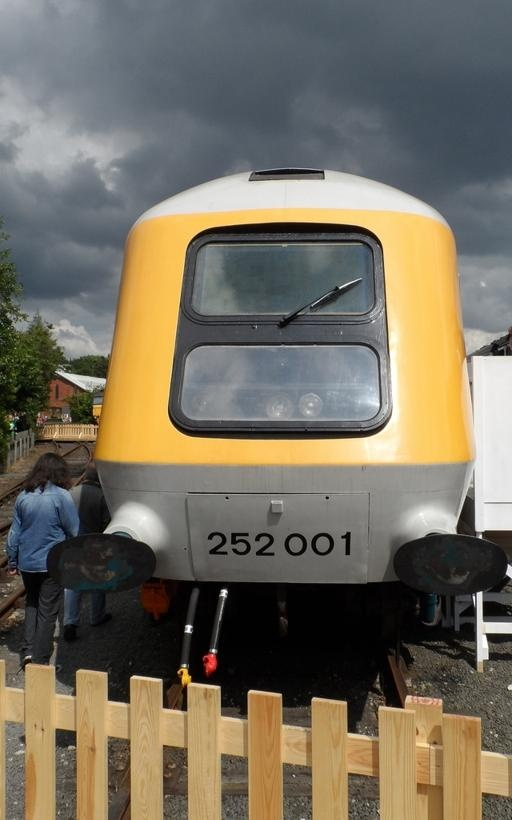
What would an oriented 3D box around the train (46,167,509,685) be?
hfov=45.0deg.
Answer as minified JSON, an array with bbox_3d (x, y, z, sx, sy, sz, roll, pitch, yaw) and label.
[{"bbox_3d":[0.276,-0.101,4.792,1.393,1.969,3.762,0,-4,5],"label":"train"}]

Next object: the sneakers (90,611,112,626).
[{"bbox_3d":[-1.394,1.883,5.609,0.063,0.085,0.193,2,7,15],"label":"sneakers"}]
